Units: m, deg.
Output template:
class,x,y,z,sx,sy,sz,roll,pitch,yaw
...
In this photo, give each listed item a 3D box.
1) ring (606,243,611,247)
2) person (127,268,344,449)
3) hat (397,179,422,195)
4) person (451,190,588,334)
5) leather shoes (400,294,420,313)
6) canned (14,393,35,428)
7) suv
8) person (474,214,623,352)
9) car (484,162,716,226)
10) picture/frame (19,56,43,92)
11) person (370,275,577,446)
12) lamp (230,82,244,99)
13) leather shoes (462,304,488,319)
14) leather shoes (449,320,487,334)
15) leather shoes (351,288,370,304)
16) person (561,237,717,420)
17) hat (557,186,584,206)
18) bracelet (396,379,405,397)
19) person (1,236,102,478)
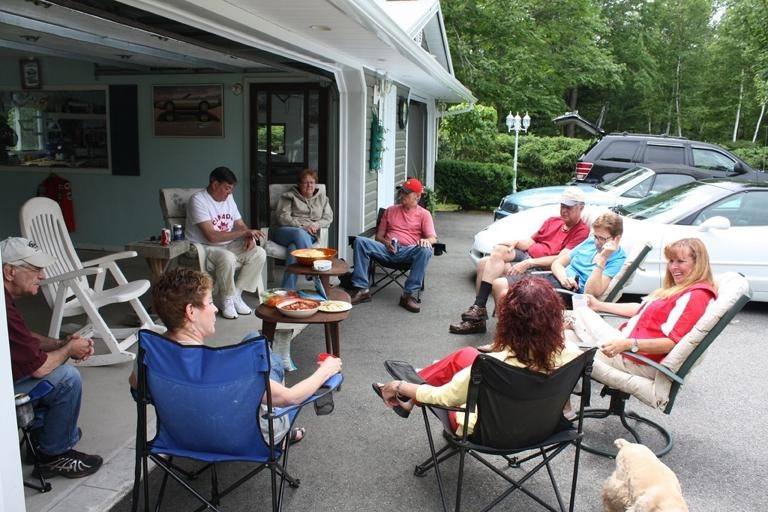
class,x,y,z,sx,sy,sz,roll,pitch,yaw
ring,2.097,-0.098,5.231,0.045,0.039,0.014,-2,-20,29
person,-0.944,0.594,3.532,1.162,1.031,0.622,2,15,9
hat,0.412,-0.921,7.464,0.384,0.189,0.255,7,13,-16
person,1.521,0.061,6.291,1.510,1.439,0.613,-10,27,-16
leather shoes,0.334,0.596,6.979,0.127,0.143,0.335,-1,6,-33
canned,-2.178,0.977,3.457,0.133,0.188,0.128,-16,-9,40
suv,5.291,-2.294,11.986,4.440,2.119,1.730,-2,21,0
person,1.807,0.127,5.643,1.450,1.398,0.946,31,-16,-39
car,3.830,-1.155,9.676,3.638,1.024,1.455,0,10,-2
picture/frame,-5.857,-3.023,9.318,0.386,0.495,0.090,2,16,8
person,0.645,0.553,3.884,1.085,1.172,1.197,-6,20,-25
lamp,-2.328,-2.643,8.923,0.256,0.229,0.057,1,7,7
leather shoes,1.040,0.650,6.335,0.308,0.130,0.135,2,-4,-25
leather shoes,0.969,0.810,6.350,0.436,0.154,0.152,2,2,-11
leather shoes,-0.344,0.516,7.229,0.306,0.187,0.127,1,4,-16
person,1.738,0.666,4.380,1.272,1.135,0.907,1,17,-19
hat,2.081,-0.649,6.101,0.312,0.162,0.211,-5,13,-42
bracelet,0.121,0.900,3.784,0.037,0.083,0.067,2,-4,3
person,-2.352,0.736,3.999,0.488,1.464,0.906,-9,17,-28
